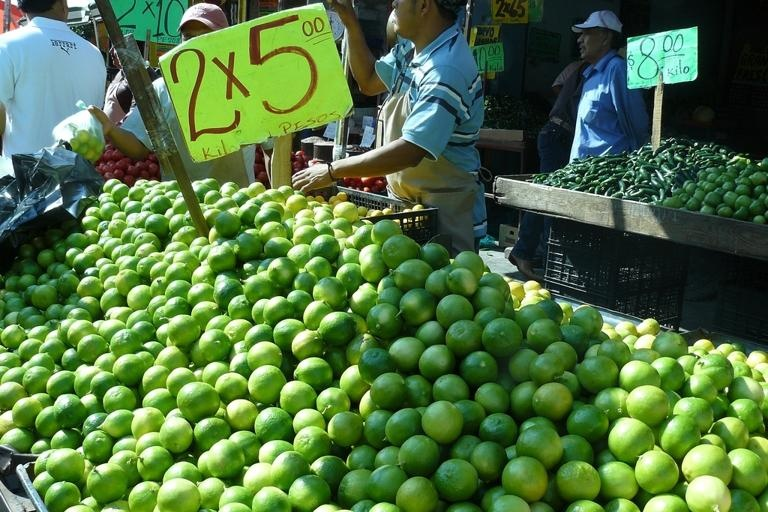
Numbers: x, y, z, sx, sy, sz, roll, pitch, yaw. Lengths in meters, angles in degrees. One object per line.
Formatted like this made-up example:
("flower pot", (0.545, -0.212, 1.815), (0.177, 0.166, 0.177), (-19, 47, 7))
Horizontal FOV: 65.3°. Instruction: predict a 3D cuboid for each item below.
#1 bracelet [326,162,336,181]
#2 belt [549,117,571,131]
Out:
("bracelet", (-0.366, -0.586, 4.204), (0.041, 0.121, 0.088), (-11, 31, 11))
("belt", (2.490, -1.855, 8.410), (0.206, 0.081, 0.181), (16, 26, -9))
